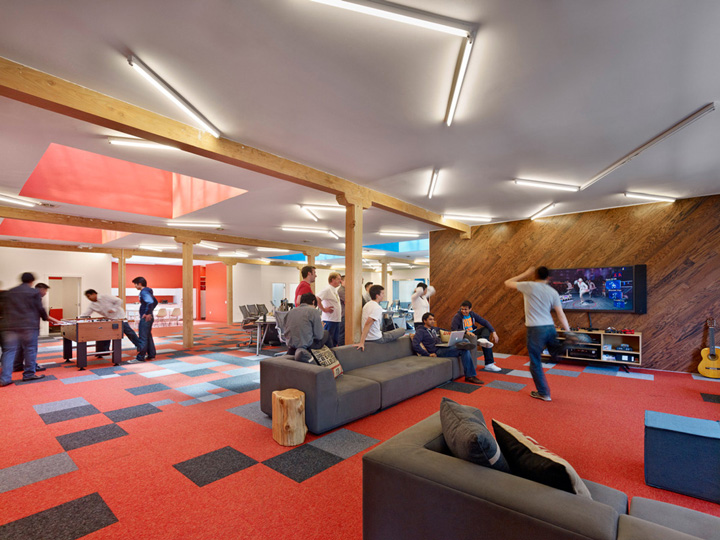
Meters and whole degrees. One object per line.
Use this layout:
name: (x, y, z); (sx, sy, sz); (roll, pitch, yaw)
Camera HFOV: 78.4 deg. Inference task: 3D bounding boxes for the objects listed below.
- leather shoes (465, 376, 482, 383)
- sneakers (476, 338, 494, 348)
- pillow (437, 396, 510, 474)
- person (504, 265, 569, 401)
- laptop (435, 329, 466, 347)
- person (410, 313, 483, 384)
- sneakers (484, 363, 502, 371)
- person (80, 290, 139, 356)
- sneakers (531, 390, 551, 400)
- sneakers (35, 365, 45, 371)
leather shoes: (1.842, 1.799, 7.202); (0.261, 0.092, 0.086); (-7, -8, 40)
sneakers: (2.275, 1.325, 7.960); (0.343, 0.127, 0.137); (0, -6, -6)
pillow: (0.833, 1.149, 3.376); (0.369, 0.505, 0.661); (-3, -10, -5)
person: (2.562, 0.898, 6.392); (0.795, 1.879, 0.912); (1, 5, 14)
laptop: (1.458, 1.046, 7.179); (0.285, 0.224, 0.405); (17, 4, 35)
person: (1.473, 1.270, 7.344); (1.117, 1.063, 0.680); (-8, -5, 23)
sneakers: (2.403, 1.793, 8.037); (0.323, 0.121, 0.114); (-2, -5, 22)
person: (-5.005, 1.075, 8.824); (0.918, 1.441, 1.002); (-3, 5, -31)
sneakers: (2.556, 1.786, 6.261); (0.094, 0.081, 0.211); (5, -1, -38)
sneakers: (-5.801, 1.798, 8.014); (0.115, 0.044, 0.145); (2, -1, 25)
